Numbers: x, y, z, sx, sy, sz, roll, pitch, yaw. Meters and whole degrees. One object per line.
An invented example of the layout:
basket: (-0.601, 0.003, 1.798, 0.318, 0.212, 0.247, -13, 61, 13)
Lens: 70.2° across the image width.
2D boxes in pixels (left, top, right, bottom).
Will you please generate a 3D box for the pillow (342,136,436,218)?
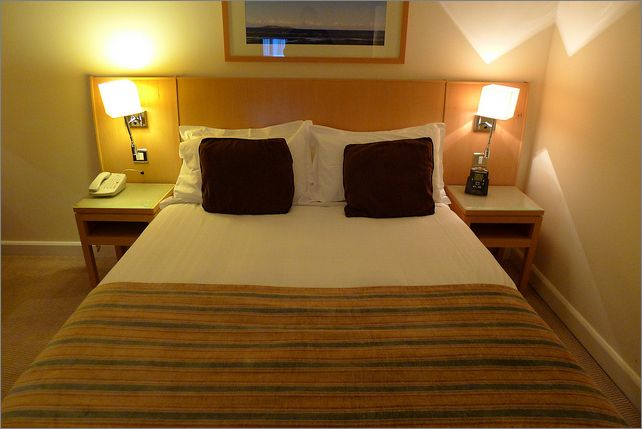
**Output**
pillow: (0.483, -0.248, 3.248, 0.644, 0.544, 0.179, 0, -4, 2)

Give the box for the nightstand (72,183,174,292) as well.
nightstand: (-1.585, 0.179, 3.838, 0.784, 0.826, 0.774, -13, 32, -27)

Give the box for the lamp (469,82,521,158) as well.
lamp: (1.370, -0.687, 3.656, 0.233, 0.524, 0.207, 0, 30, -5)

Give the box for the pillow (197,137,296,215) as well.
pillow: (-0.584, -0.300, 3.329, 0.556, 0.613, 0.176, -3, 41, -10)

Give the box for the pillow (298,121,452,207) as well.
pillow: (0.485, -0.370, 3.603, 1.190, 0.729, 0.302, -6, 11, -21)

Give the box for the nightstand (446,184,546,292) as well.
nightstand: (1.486, 0.088, 3.889, 0.572, 0.730, 0.713, 0, 33, 13)

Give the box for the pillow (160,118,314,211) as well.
pillow: (-0.579, -0.362, 3.370, 0.782, 0.528, 0.109, 0, -7, 4)

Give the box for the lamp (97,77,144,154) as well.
lamp: (-1.575, -0.756, 3.671, 0.257, 0.620, 0.229, -22, 31, -35)
